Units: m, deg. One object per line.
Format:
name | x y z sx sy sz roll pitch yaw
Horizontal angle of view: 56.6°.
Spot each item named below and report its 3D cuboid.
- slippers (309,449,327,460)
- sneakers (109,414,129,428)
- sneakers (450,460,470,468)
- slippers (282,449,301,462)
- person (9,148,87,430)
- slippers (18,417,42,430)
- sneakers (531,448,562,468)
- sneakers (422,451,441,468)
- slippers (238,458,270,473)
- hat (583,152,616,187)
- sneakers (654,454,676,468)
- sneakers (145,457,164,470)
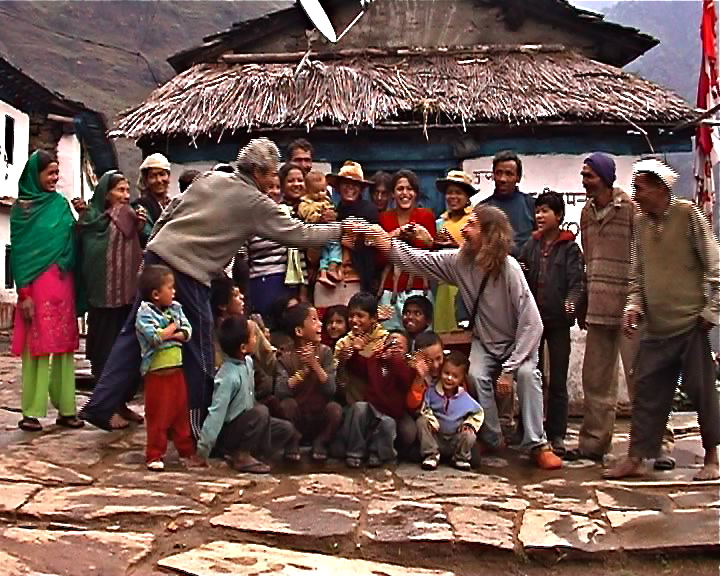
slippers | -0.321 1.287 5.158 0.115 0.092 0.092 2 8 0
sneakers | -2.135 1.180 5.900 0.112 0.078 0.213 2 -7 -39
sneakers | 0.774 1.367 5.169 0.142 0.057 0.116 2 7 2
slippers | -0.528 1.282 5.124 0.142 0.110 0.130 1 8 -7
person | -2.696 0.025 5.719 0.531 2.387 0.572 -1 10 -22
slippers | -2.831 1.154 5.671 0.252 0.089 0.087 0 -2 13
sneakers | 1.449 1.335 5.250 0.131 0.140 0.214 -3 9 -34
sneakers | 0.536 1.336 5.166 0.127 0.100 0.183 3 7 5
slippers | -0.809 1.311 4.934 0.276 0.150 0.093 -5 -8 19
hat | 1.993 -1.004 5.578 0.292 0.290 0.224 -6 11 -45
sneakers | 2.382 1.365 5.237 0.159 0.048 0.144 -7 9 -12
sneakers | -1.473 1.263 4.787 0.064 0.053 0.127 2 2 0
